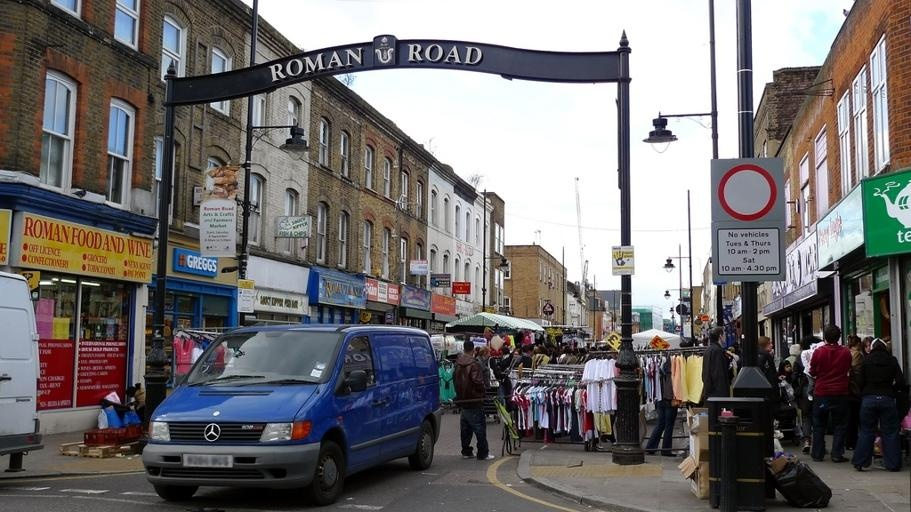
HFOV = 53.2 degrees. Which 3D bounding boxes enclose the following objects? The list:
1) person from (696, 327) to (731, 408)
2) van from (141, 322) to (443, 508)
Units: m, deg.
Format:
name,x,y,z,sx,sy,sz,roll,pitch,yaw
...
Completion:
name,x,y,z,sx,sy,sz,roll,pitch,yaw
person,6.476,3.072,22.643,0.712,2.394,1.031,2,1,1
van,-3.447,3.541,20.423,6.564,3.754,2.675,-5,9,-37
